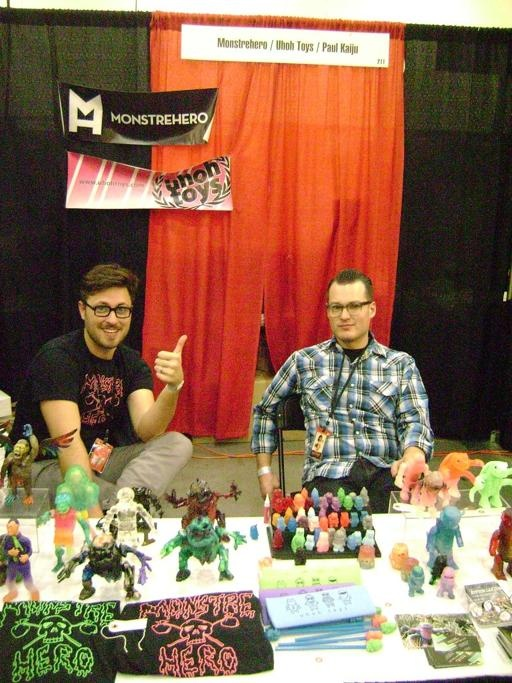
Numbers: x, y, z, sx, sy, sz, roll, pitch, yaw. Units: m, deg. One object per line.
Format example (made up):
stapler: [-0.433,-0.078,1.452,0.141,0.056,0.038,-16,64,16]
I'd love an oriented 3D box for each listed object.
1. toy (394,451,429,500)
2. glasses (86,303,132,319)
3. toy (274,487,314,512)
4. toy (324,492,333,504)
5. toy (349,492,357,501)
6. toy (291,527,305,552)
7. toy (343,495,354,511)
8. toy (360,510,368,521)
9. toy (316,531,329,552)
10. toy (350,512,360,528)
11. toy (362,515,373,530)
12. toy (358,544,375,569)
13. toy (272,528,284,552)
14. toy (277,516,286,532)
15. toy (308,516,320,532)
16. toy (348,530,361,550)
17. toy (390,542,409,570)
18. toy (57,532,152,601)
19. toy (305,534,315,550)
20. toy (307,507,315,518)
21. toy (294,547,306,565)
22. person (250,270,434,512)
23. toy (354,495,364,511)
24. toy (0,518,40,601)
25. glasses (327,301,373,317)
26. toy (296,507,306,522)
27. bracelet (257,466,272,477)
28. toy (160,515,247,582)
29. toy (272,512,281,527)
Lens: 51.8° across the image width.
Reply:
toy: [0.519,0.433,1.771,0.070,0.149,0.109,5,-31,41]
glasses: [-0.600,-0.126,2.156,0.172,0.056,0.091,0,12,-21]
toy: [0.123,0.514,1.764,0.085,0.048,0.107,-2,-7,12]
toy: [0.247,0.522,1.765,0.029,0.047,0.033,-4,7,-3]
toy: [0.336,0.528,1.811,0.026,0.024,0.026,-2,2,-17]
toy: [0.124,0.584,1.552,0.053,0.075,0.041,3,-2,-8]
toy: [0.312,0.546,1.794,0.038,0.051,0.038,-2,6,6]
toy: [0.346,0.546,1.667,0.027,0.012,0.038,0,-2,2]
toy: [0.198,0.586,1.547,0.037,0.050,0.040,-10,16,-18]
toy: [0.310,0.564,1.668,0.032,0.042,0.039,0,-2,4]
toy: [0.341,0.551,1.612,0.032,0.040,0.041,0,-7,1]
toy: [0.308,0.596,1.466,0.053,0.050,0.046,-3,3,9]
toy: [0.066,0.584,1.552,0.038,0.065,0.032,3,-22,-3]
toy: [0.078,0.556,1.612,0.030,0.044,0.032,-10,16,-18]
toy: [0.177,0.556,1.612,0.034,0.044,0.044,2,-1,-5]
toy: [0.295,0.585,1.553,0.030,0.018,0.045,-1,15,8]
toy: [0.395,0.591,1.451,0.052,0.067,0.051,-7,10,-17]
toy: [-0.377,0.538,1.342,0.254,0.183,0.153,0,-9,2]
toy: [0.159,0.587,1.557,0.033,0.043,0.032,-1,6,-2]
toy: [0.177,0.531,1.646,0.024,0.026,0.023,-5,26,13]
toy: [0.126,0.605,1.490,0.037,0.051,0.034,0,-8,-3]
person: [0.370,0.182,2.248,0.733,0.949,0.577,4,11,0]
toy: [0.343,0.534,1.747,0.029,0.036,0.027,-16,36,-4]
toy: [-0.577,0.533,1.292,0.078,0.186,0.100,-2,13,-28]
glasses: [0.411,-0.147,2.323,0.195,0.089,0.106,6,11,9]
toy: [0.142,0.539,1.643,0.035,0.037,0.034,-5,14,-19]
bracelet: [0.039,0.546,2.211,0.043,0.028,0.044,-6,1,-1]
toy: [-0.137,0.525,1.365,0.196,0.133,0.180,0,3,-1]
toy: [0.063,0.546,1.633,0.031,0.052,0.032,2,-1,12]
